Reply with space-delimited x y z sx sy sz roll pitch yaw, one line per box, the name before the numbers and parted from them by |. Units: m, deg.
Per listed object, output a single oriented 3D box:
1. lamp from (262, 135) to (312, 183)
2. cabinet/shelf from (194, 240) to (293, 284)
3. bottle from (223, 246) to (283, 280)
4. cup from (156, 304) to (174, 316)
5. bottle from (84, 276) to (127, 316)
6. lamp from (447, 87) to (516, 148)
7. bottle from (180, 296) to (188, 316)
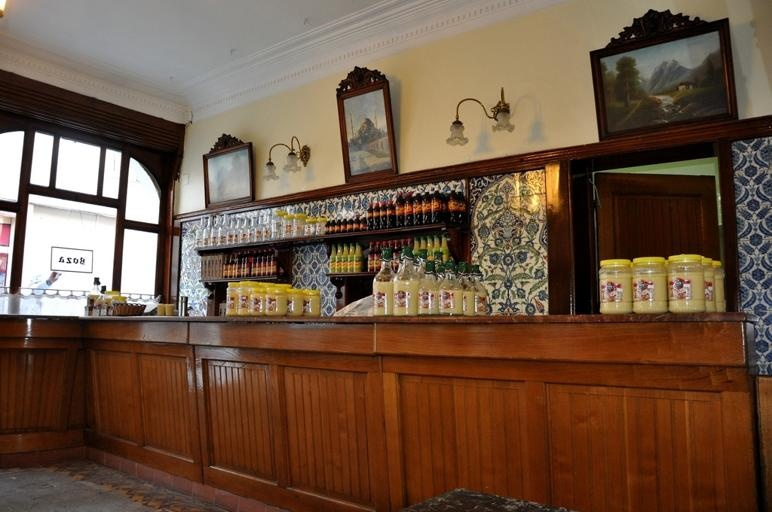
lamp | -1.365 -1.296 7.271 0.690 0.600 0.399 -5 -5 31
cabinet/shelf | -1.875 0.106 7.475 1.357 0.439 0.345 -5 -5 31
bottle | -1.750 0.097 7.330 0.941 0.409 0.256 -5 -5 36
cup | -2.281 0.553 5.845 0.139 0.104 0.137 1 2 0
bottle | -3.381 0.477 6.714 0.458 0.450 0.464 1 -3 -13
lamp | 1.001 -1.491 5.929 0.686 0.591 0.468 -4 -4 16
bottle | -2.103 0.517 5.862 0.052 0.182 0.100 0 -5 -30
